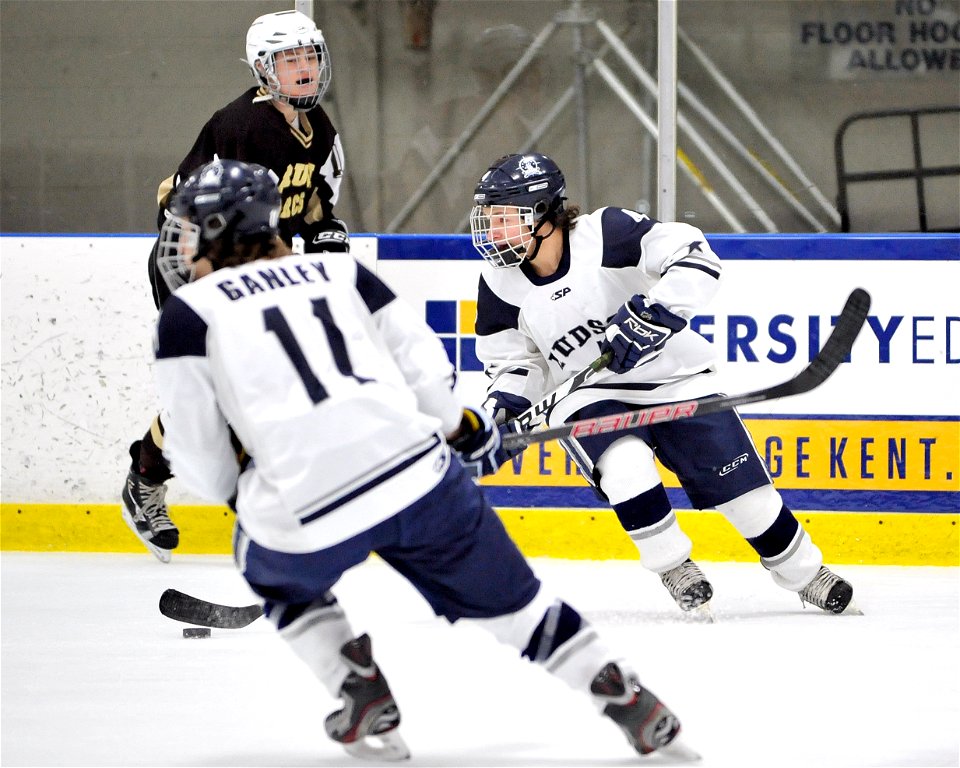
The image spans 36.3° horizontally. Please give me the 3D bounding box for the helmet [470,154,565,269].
[{"bbox_3d":[0.128,-0.587,4.642,0.323,0.302,0.256,-20,20,-36],"label":"helmet"}]

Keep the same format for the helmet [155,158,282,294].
[{"bbox_3d":[-0.603,-0.357,3.471,0.325,0.317,0.253,-9,-10,10],"label":"helmet"}]

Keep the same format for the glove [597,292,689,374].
[{"bbox_3d":[0.494,-0.161,4.540,0.287,0.172,0.123,-42,-7,23],"label":"glove"}]

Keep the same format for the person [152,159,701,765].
[{"bbox_3d":[-0.114,0.262,3.970,1.138,1.762,0.586,-22,5,13],"label":"person"}]

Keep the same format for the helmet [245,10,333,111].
[{"bbox_3d":[-0.558,-1.029,4.598,0.265,0.283,0.289,-25,44,-29],"label":"helmet"}]
